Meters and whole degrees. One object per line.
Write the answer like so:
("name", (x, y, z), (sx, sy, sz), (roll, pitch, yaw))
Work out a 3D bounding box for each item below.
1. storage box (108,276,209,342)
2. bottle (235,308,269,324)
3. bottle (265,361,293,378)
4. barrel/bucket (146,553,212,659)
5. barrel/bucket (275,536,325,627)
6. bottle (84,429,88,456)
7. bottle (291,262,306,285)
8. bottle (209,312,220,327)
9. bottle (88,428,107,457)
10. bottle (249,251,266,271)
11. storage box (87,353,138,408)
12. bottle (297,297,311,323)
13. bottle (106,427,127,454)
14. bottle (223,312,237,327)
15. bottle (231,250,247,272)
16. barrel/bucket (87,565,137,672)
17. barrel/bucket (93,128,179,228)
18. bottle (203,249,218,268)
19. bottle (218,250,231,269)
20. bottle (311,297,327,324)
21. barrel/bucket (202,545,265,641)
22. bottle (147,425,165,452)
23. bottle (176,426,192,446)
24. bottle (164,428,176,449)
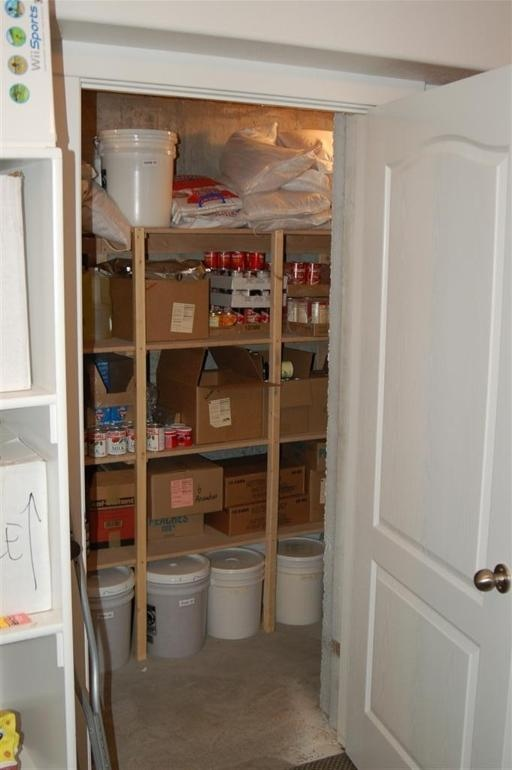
("storage box", (-0.403, -0.349, 2.804), (0.317, 0.241, 0.318), (-9, 19, -31))
("bottle", (-0.018, -0.345, 3.077), (0.107, 0.034, 0.086), (-6, 17, -31))
("bottle", (0.119, -0.072, 3.183), (0.106, 0.079, 0.087), (-11, 19, -36))
("barrel/bucket", (-0.349, 0.996, 2.873), (0.293, 0.401, 0.252), (-2, 6, -18))
("barrel/bucket", (0.191, 0.957, 3.224), (0.335, 0.366, 0.320), (0, 5, 0))
("bottle", (-0.719, 0.248, 2.708), (0.019, 0.098, 0.058), (-1, 6, -16))
("bottle", (0.214, -0.552, 3.155), (0.080, 0.111, 0.061), (-1, 6, -17))
("bottle", (-0.198, -0.312, 2.994), (0.060, 0.072, 0.060), (15, 19, 41))
("bottle", (-0.673, 0.240, 2.758), (0.094, 0.114, 0.096), (-4, 10, -34))
("bottle", (-0.002, -0.599, 3.034), (0.083, 0.098, 0.086), (-8, 20, -24))
("storage box", (-0.621, -0.003, 2.872), (0.234, 0.232, 0.248), (-4, 3, -1))
("bottle", (0.239, -0.364, 3.129), (0.045, 0.104, 0.085), (-4, 8, -37))
("bottle", (-0.604, 0.238, 2.776), (0.090, 0.107, 0.094), (0, 7, -9))
("bottle", (-0.129, -0.314, 3.031), (0.062, 0.069, 0.065), (-2, 1, 28))
("bottle", (-0.086, -0.595, 3.030), (0.087, 0.103, 0.089), (-9, 18, -33))
("barrel/bucket", (-0.623, 1.004, 2.743), (0.189, 0.407, 0.292), (-1, 6, -14))
("barrel/bucket", (-0.488, -0.888, 2.781), (0.368, 0.432, 0.381), (2, 22, -1))
("bottle", (-0.230, -0.606, 3.076), (0.069, 0.085, 0.072), (-3, 15, -19))
("bottle", (-0.156, -0.605, 3.068), (0.071, 0.087, 0.074), (-5, 16, -22))
("bottle", (0.304, -0.356, 3.094), (0.077, 0.120, 0.197), (1, 6, 6))
("barrel/bucket", (-0.099, 0.984, 3.119), (0.320, 0.366, 0.330), (1, 9, 0))
("bottle", (-0.440, 0.231, 2.828), (0.094, 0.112, 0.097), (-5, 13, -30))
("bottle", (-0.327, 0.229, 2.890), (0.073, 0.076, 0.073), (-1, 11, -14))
("bottle", (-0.385, 0.239, 2.825), (0.039, 0.086, 0.047), (3, 6, 20))
